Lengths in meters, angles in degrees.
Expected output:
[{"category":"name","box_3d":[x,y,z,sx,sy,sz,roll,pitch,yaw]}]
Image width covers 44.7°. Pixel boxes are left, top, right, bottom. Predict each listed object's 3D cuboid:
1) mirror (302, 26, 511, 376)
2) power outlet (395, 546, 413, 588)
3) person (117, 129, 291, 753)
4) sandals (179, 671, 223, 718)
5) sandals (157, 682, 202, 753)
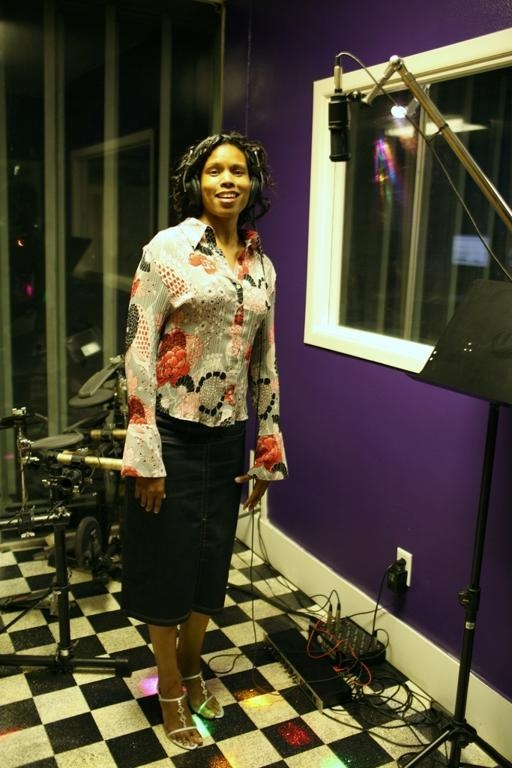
[{"category":"mirror","box_3d":[0.410,-0.605,2.165,0.286,1.089,1.027,1,6,-15]},{"category":"power outlet","box_3d":[0.508,0.629,2.140,0.018,0.124,0.088,0,6,-19]},{"category":"person","box_3d":[-0.128,0.188,1.664,0.469,1.675,0.344,0,6,-17]},{"category":"sandals","box_3d":[-0.170,0.960,1.930,0.065,0.093,0.206,-2,-9,-26]},{"category":"sandals","box_3d":[-0.222,0.958,1.794,0.075,0.084,0.212,1,1,-19]}]
